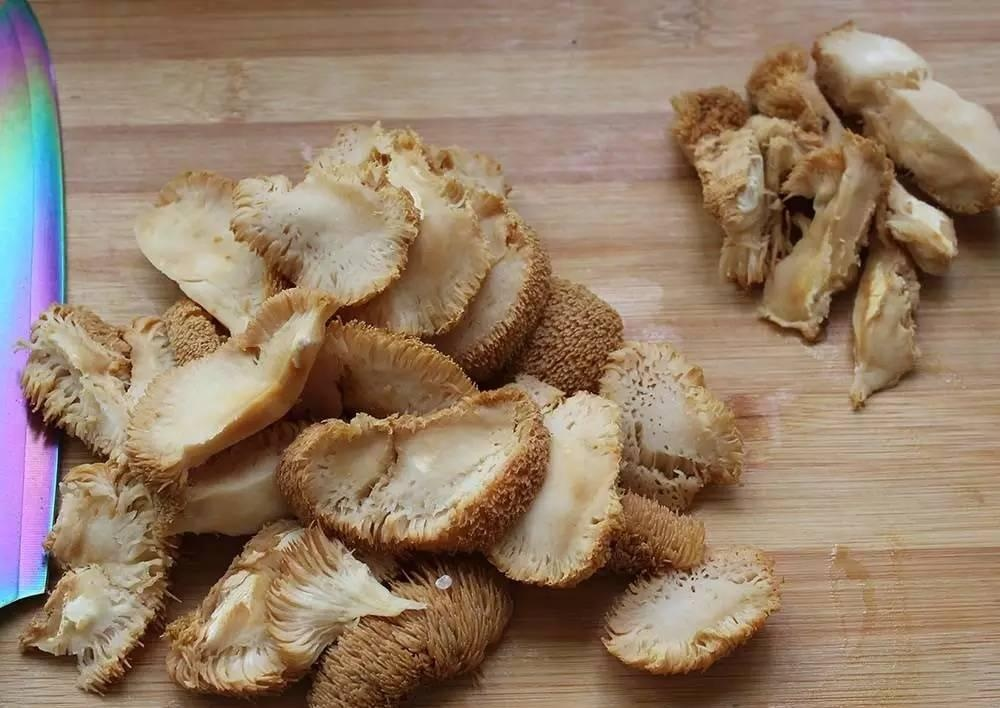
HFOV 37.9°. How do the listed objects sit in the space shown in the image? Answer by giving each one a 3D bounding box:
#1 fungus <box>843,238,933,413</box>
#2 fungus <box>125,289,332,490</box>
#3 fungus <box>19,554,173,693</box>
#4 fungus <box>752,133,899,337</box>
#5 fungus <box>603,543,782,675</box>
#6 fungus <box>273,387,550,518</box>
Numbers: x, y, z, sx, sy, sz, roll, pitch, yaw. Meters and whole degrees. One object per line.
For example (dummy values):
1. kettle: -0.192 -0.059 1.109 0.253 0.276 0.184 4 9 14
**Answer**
1. fungus: 0.628 -0.043 2.354 0.103 0.080 0.281 10 76 -1
2. fungus: -0.376 0.065 2.256 0.233 0.095 0.354 25 75 32
3. fungus: -0.623 0.410 2.244 0.194 0.079 0.219 40 84 5
4. fungus: 0.570 -0.183 2.451 0.221 0.100 0.319 23 96 34
5. fungus: 0.293 0.411 2.208 0.236 0.068 0.164 -30 34 9
6. fungus: -0.134 0.157 2.188 0.349 0.137 0.194 -8 18 8
